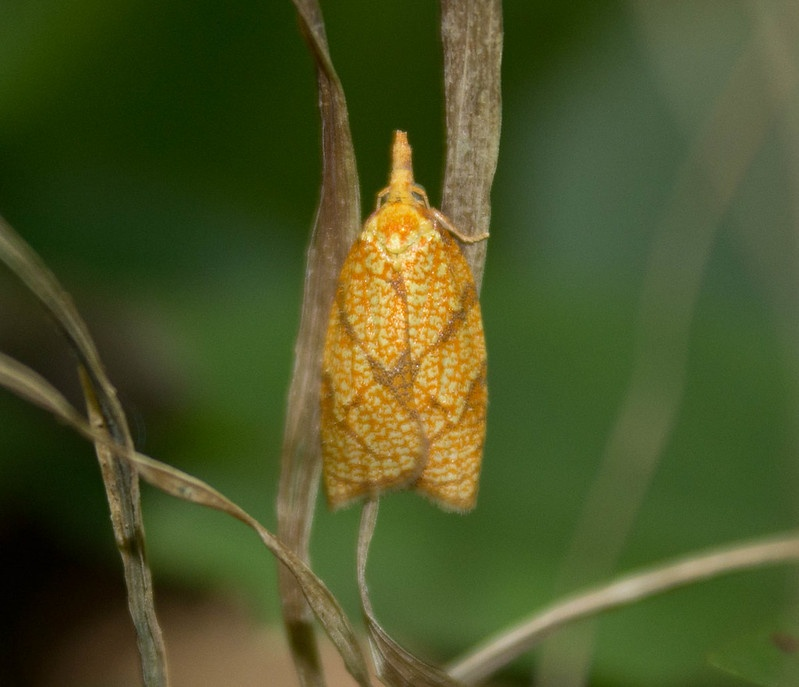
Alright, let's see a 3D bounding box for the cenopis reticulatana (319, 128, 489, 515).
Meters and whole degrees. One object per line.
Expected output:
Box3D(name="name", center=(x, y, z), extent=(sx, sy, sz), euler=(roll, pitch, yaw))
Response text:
Box3D(name="cenopis reticulatana", center=(-0.002, -0.022, 1.191), extent=(0.164, 0.458, 0.071), euler=(0, 0, 0))
